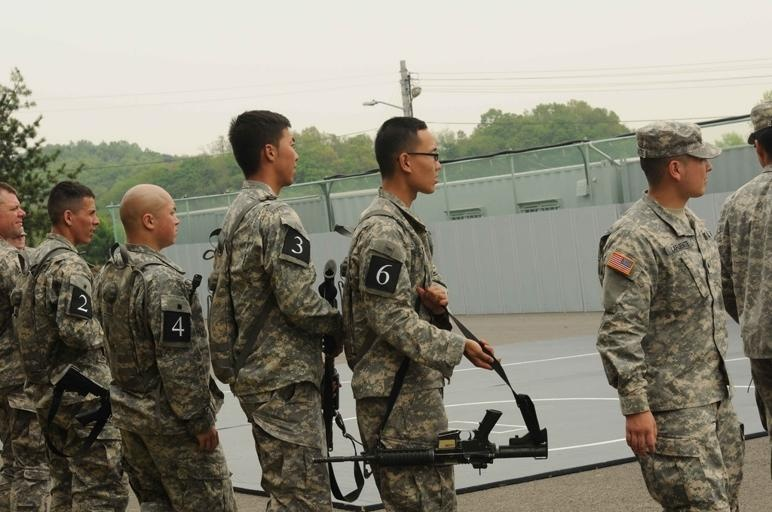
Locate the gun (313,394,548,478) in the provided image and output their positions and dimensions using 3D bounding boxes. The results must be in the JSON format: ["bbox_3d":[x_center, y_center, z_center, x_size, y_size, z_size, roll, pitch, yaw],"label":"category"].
[{"bbox_3d":[0.476,1.367,8.072,1.468,0.560,0.224,-5,0,4],"label":"gun"}]
